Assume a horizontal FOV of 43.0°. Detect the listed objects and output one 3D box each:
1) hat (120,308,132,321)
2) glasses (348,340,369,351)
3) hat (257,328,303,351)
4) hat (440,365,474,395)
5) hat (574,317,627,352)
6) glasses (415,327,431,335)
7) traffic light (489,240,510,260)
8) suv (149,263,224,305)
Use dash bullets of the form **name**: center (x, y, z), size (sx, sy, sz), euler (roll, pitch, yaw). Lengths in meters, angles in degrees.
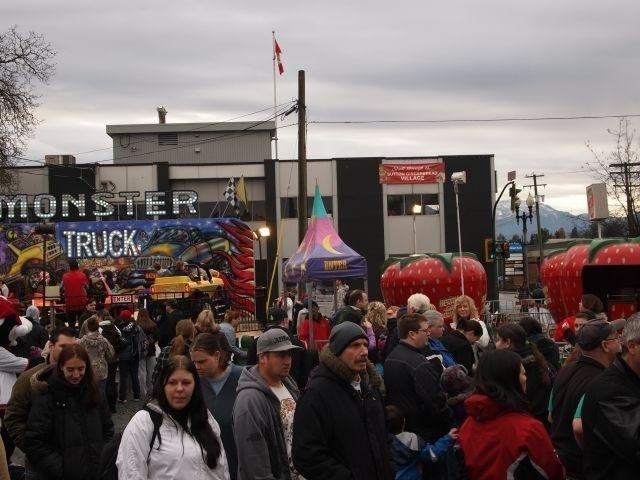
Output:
- **hat**: center (-3.805, 1.472, 15.804), size (0.241, 0.243, 0.185), euler (6, 6, 21)
- **glasses**: center (0.343, 0.986, 7.448), size (0.097, 0.072, 0.122), euler (10, -16, -38)
- **hat**: center (-0.425, 0.976, 7.784), size (0.273, 0.177, 0.220), euler (1, -1, 16)
- **hat**: center (1.471, 1.531, 8.769), size (0.326, 0.313, 0.255), euler (-45, -2, -5)
- **hat**: center (2.807, 0.893, 8.152), size (0.526, 0.254, 0.355), euler (-24, 3, -3)
- **glasses**: center (1.161, 1.023, 9.066), size (0.140, 0.051, 0.148), euler (-3, -3, 3)
- **traffic light**: center (6.655, 0.420, 30.439), size (0.655, 0.733, 0.717), euler (-1, -4, 4)
- **suv**: center (-4.236, 1.378, 25.447), size (1.122, 0.983, 3.534), euler (-3, -1, 14)
